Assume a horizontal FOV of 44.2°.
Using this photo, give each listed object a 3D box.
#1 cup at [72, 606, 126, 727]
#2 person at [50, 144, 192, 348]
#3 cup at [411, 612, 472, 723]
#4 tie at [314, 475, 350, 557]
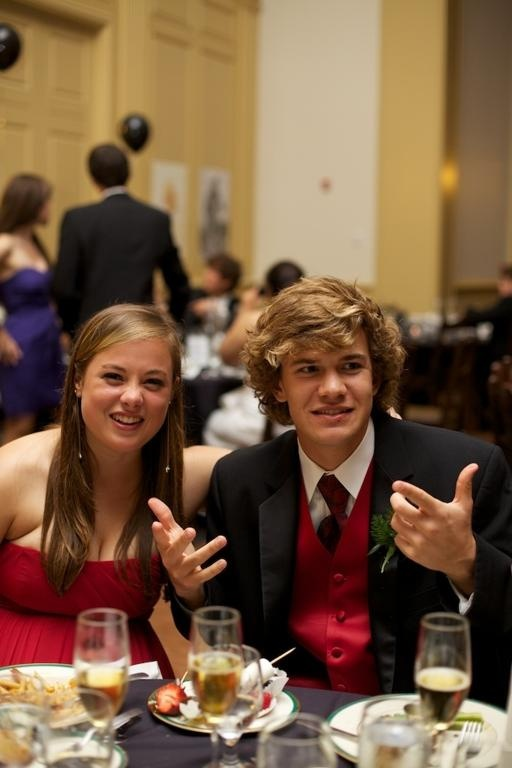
[{"bbox_3d":[-0.159,0.318,0.668,0.062,0.142,0.056,-2,-16,-13],"label":"cup"},{"bbox_3d":[-0.749,-0.480,3.233,0.636,1.442,0.455,-4,38,-27],"label":"person"},{"bbox_3d":[0.195,0.323,0.670,0.060,0.136,0.054,1,-5,19],"label":"cup"},{"bbox_3d":[0.187,0.284,1.425,0.085,0.028,0.275,2,23,6],"label":"tie"}]
